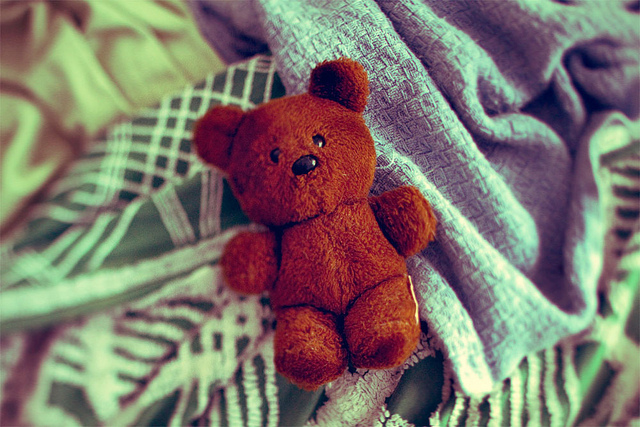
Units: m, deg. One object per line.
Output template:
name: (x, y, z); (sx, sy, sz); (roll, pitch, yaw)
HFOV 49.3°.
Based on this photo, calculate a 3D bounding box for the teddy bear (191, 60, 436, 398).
teddy bear: (-0.015, 0.022, 1.112); (0.328, 0.469, 0.303); (-13, 13, 15)
